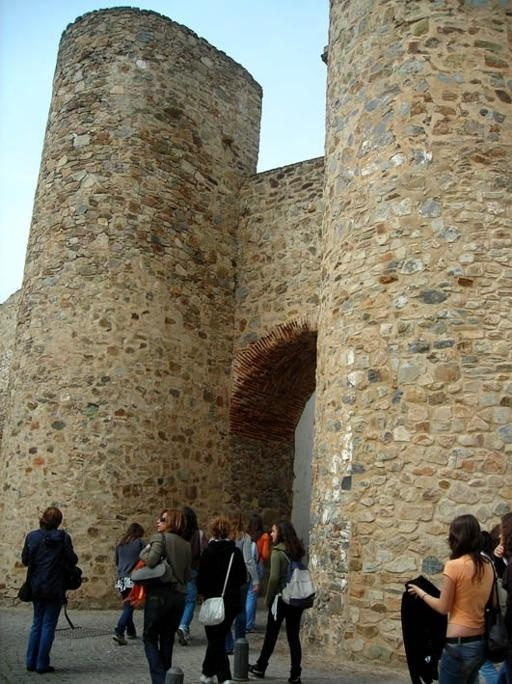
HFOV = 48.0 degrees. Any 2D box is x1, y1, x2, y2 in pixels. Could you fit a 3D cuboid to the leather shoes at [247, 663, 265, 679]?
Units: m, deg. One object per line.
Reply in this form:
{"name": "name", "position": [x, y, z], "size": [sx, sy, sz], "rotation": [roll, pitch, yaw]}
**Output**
{"name": "leather shoes", "position": [0.003, 2.008, 3.534], "size": [0.052, 0.057, 0.146], "rotation": [3, 1, -29]}

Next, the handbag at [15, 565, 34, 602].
{"name": "handbag", "position": [-1.556, 1.635, 3.907], "size": [0.087, 0.244, 0.678], "rotation": [8, -14, -20]}

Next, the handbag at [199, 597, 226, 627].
{"name": "handbag", "position": [-0.232, 1.425, 3.033], "size": [0.131, 0.157, 0.151], "rotation": [3, -14, -2]}

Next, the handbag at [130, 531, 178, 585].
{"name": "handbag", "position": [-0.526, 1.090, 2.895], "size": [0.170, 0.205, 0.070], "rotation": [9, 17, -29]}

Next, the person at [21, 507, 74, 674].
{"name": "person", "position": [-1.359, 1.589, 3.723], "size": [0.344, 0.999, 0.369], "rotation": [8, -15, -18]}

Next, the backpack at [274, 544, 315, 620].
{"name": "backpack", "position": [0.228, 1.469, 3.516], "size": [0.212, 0.325, 0.224], "rotation": [-15, -31, 34]}
